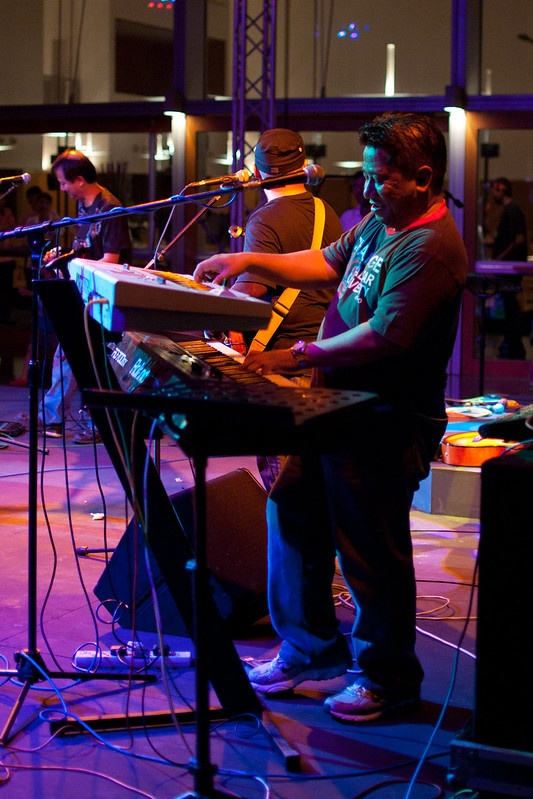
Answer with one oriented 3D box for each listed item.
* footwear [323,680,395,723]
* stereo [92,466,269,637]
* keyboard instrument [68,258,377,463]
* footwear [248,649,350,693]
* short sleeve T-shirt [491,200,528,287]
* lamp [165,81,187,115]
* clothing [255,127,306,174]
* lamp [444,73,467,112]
[{"bbox_3d":[0.245,0.776,2.330,0.205,0.091,0.081,0,-3,-3],"label":"footwear"},{"bbox_3d":[-0.228,0.487,2.948,0.491,0.394,0.482,0,13,27],"label":"stereo"},{"bbox_3d":[-0.170,-0.103,1.834,0.371,0.348,0.625,1,6,-17],"label":"keyboard instrument"},{"bbox_3d":[0.107,0.728,2.484,0.322,0.138,0.104,-1,-5,10],"label":"footwear"},{"bbox_3d":[2.100,-1.362,7.757,0.297,0.645,0.180,4,7,13],"label":"short sleeve T-shirt"},{"bbox_3d":[-0.799,-2.673,8.068,0.173,0.277,0.246,3,6,3],"label":"lamp"},{"bbox_3d":[0.052,-0.854,3.151,0.181,0.080,0.236,-3,40,5],"label":"clothing"},{"bbox_3d":[1.588,-2.552,7.538,0.182,0.309,0.361,4,6,10],"label":"lamp"}]
